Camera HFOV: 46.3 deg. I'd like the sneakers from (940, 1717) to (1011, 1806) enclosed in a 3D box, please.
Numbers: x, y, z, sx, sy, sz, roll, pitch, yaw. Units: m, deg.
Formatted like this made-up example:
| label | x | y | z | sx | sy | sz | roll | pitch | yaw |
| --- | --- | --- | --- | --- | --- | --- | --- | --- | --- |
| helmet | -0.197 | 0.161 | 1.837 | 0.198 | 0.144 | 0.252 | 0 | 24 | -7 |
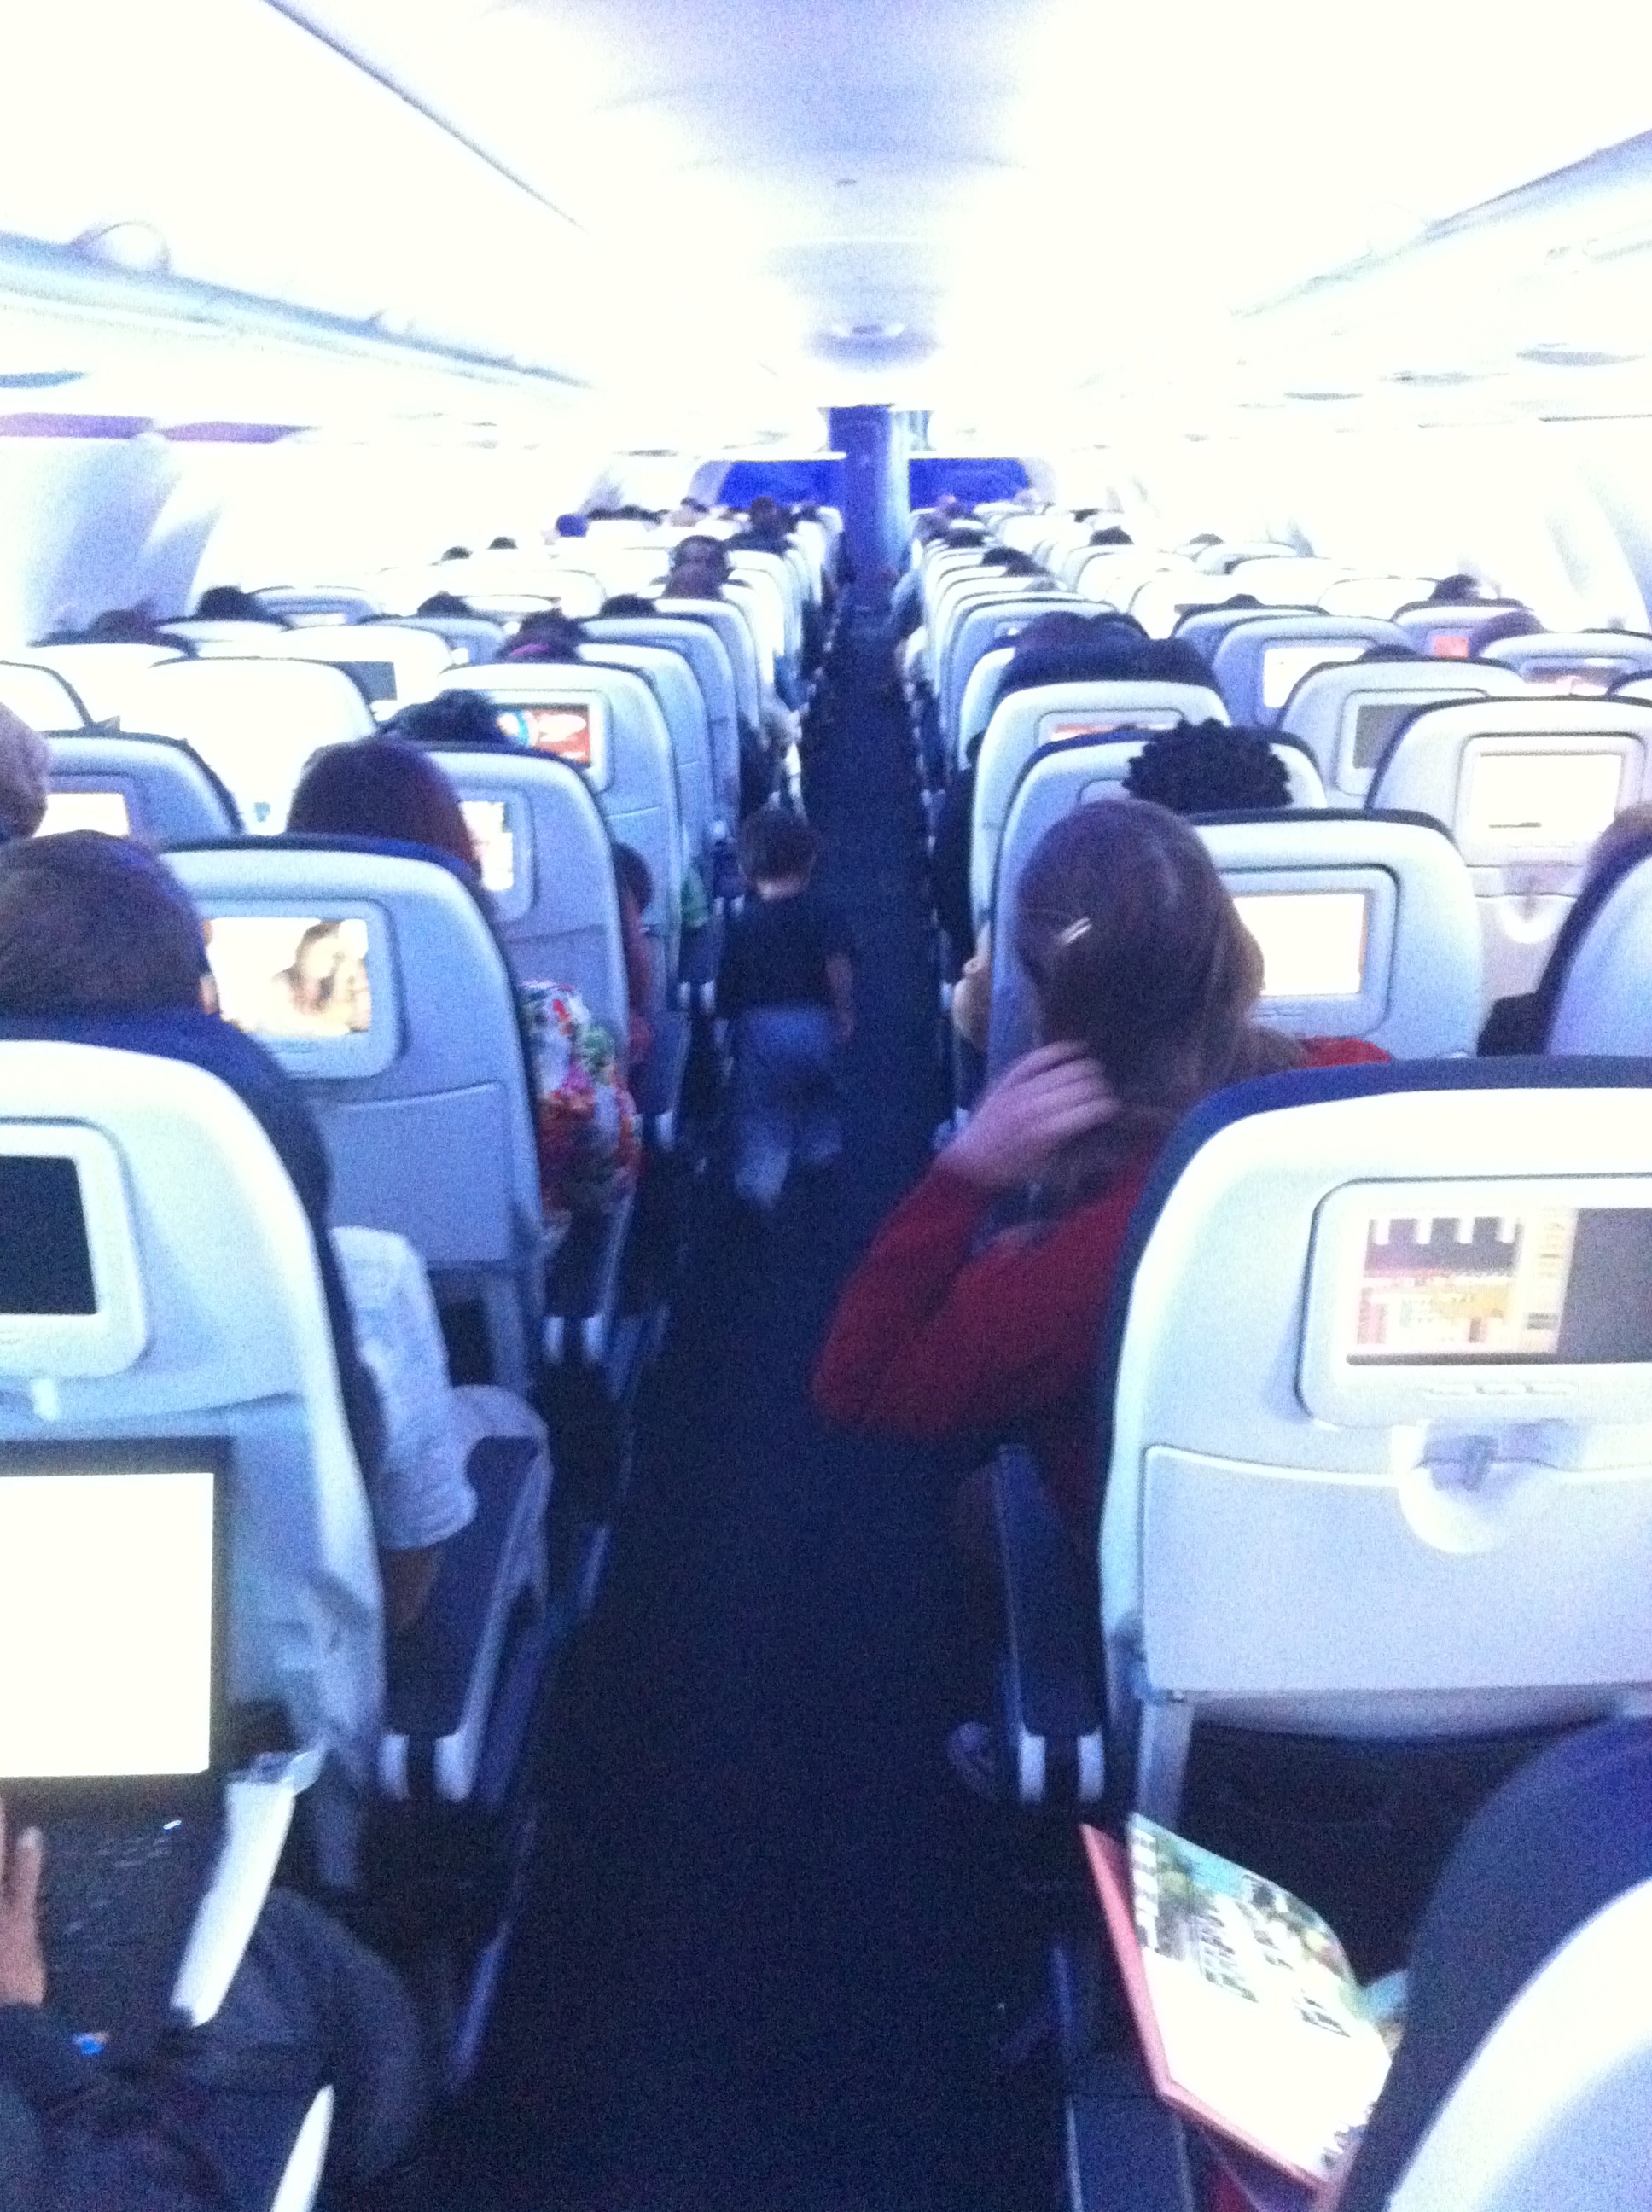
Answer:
| label | x | y | z | sx | sy | sz | roll | pitch | yaw |
| --- | --- | --- | --- | --- | --- | --- | --- | --- | --- |
| sneakers | 0.160 | 0.659 | 1.997 | 0.088 | 0.048 | 0.131 | 2 | 11 | 1 |
